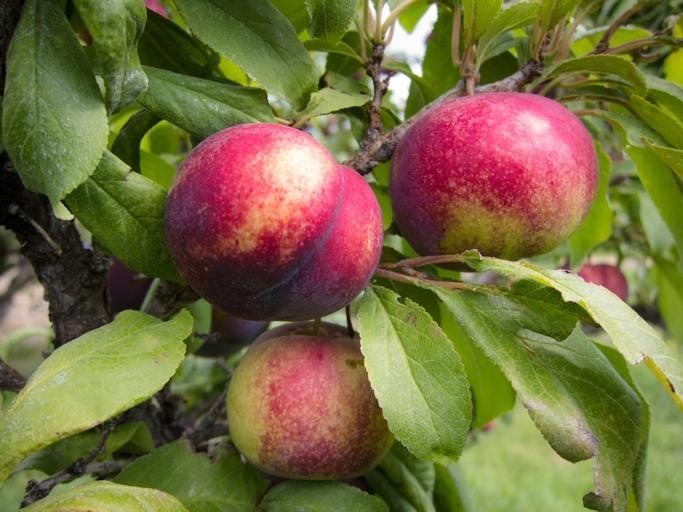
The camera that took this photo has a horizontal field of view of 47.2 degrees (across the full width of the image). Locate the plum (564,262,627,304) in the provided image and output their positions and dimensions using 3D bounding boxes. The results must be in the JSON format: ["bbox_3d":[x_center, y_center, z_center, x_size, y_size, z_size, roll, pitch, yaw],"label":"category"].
[{"bbox_3d":[0.678,0.067,2.070,0.130,0.143,0.135,5,0,19],"label":"plum"}]
